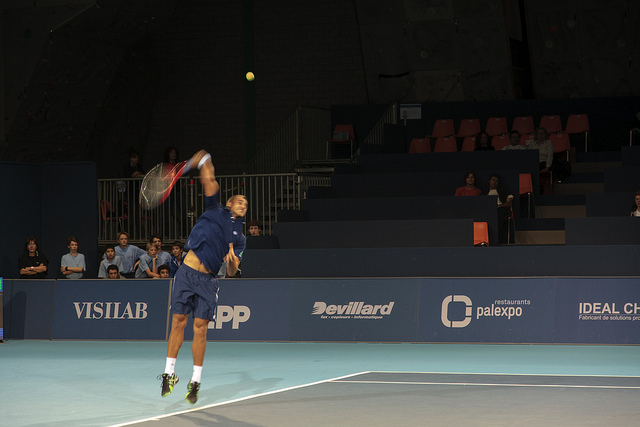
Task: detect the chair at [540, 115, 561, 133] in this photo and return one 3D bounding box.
[{"bbox_3d":[6.569,-2.491,23.199,0.541,0.657,0.558,-2,-11,15],"label":"chair"}]

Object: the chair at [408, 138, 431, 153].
[{"bbox_3d":[2.834,-1.940,23.101,0.612,0.446,0.612,0,-1,13],"label":"chair"}]

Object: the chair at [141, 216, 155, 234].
[{"bbox_3d":[-4.436,0.290,20.820,0.334,0.319,0.325,-3,25,-12],"label":"chair"}]

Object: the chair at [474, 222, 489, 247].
[{"bbox_3d":[3.447,0.431,17.324,0.327,0.478,0.209,2,-5,-2],"label":"chair"}]

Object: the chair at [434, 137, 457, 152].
[{"bbox_3d":[3.532,-1.949,22.865,0.502,0.610,0.528,-1,-8,12],"label":"chair"}]

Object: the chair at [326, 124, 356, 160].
[{"bbox_3d":[0.635,-2.174,24.767,0.779,1.177,0.829,2,3,4],"label":"chair"}]

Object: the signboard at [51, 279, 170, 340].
[{"bbox_3d":[-4.175,1.918,16.276,2.311,1.210,0.328,1,-5,4],"label":"signboard"}]

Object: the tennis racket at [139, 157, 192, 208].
[{"bbox_3d":[-2.172,-0.317,11.227,0.270,0.641,1.061,27,0,-33],"label":"tennis racket"}]

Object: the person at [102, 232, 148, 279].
[{"bbox_3d":[-4.415,0.987,18.532,0.622,1.309,0.608,0,-1,-7],"label":"person"}]

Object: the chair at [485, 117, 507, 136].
[{"bbox_3d":[5.098,-2.495,23.450,0.586,0.583,0.341,0,-6,11],"label":"chair"}]

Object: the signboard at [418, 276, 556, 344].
[{"bbox_3d":[3.125,1.801,15.156,2.479,1.210,0.158,1,-6,7],"label":"signboard"}]

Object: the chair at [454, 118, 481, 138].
[{"bbox_3d":[4.334,-2.482,23.666,0.675,0.585,0.560,3,-6,17],"label":"chair"}]

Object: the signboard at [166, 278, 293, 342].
[{"bbox_3d":[-1.505,1.720,14.475,1.558,0.866,0.024,2,-4,3],"label":"signboard"}]

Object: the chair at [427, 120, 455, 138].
[{"bbox_3d":[3.643,-2.464,23.787,0.586,0.422,0.517,1,-28,13],"label":"chair"}]
